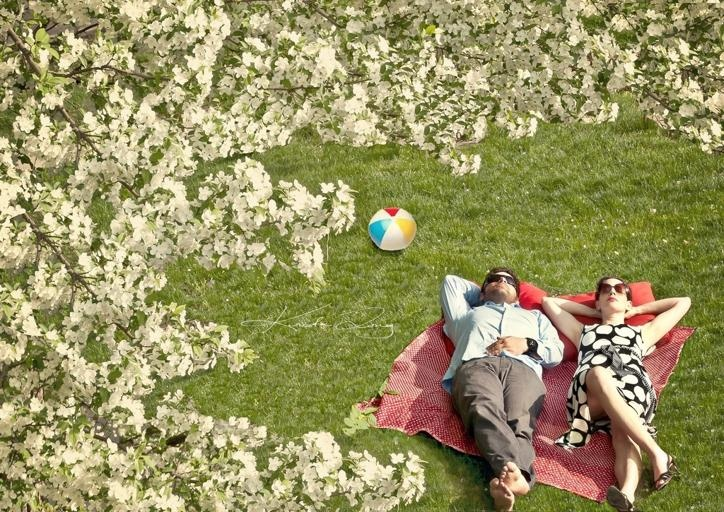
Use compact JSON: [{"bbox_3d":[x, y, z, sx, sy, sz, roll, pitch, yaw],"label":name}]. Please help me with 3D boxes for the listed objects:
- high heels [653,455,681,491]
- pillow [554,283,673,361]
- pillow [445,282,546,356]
[{"bbox_3d":[2.681,1.901,10.639,0.105,0.171,0.419,31,37,6],"label":"high heels"},{"bbox_3d":[2.433,0.523,11.943,1.012,0.758,0.801,6,15,16],"label":"pillow"},{"bbox_3d":[1.405,0.655,11.936,0.881,0.748,0.618,1,14,-2],"label":"pillow"}]
